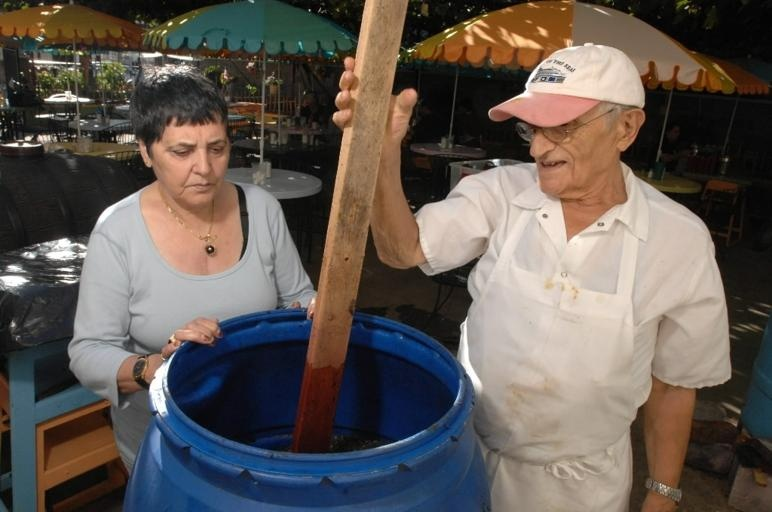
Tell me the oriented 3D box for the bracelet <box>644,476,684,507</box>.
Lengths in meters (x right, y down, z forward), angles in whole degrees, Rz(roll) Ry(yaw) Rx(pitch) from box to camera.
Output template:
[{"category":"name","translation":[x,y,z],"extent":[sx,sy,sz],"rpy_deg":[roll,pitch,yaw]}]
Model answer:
[{"category":"bracelet","translation":[1.282,1.092,2.904],"extent":[0.105,0.077,0.144],"rpy_deg":[21,-3,4]}]

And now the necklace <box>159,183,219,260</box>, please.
[{"category":"necklace","translation":[-0.946,-0.160,3.035],"extent":[0.187,0.344,0.065],"rpy_deg":[-29,7,-28]}]

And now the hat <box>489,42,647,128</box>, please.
[{"category":"hat","translation":[0.799,-0.698,2.705],"extent":[0.507,0.290,0.353],"rpy_deg":[3,9,-12]}]
